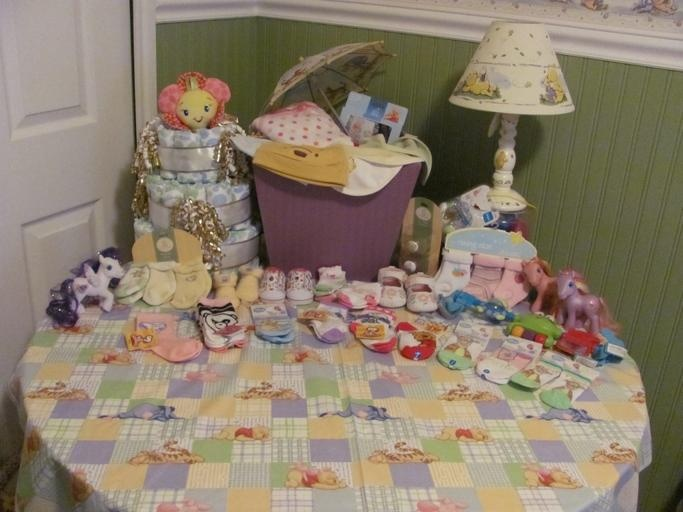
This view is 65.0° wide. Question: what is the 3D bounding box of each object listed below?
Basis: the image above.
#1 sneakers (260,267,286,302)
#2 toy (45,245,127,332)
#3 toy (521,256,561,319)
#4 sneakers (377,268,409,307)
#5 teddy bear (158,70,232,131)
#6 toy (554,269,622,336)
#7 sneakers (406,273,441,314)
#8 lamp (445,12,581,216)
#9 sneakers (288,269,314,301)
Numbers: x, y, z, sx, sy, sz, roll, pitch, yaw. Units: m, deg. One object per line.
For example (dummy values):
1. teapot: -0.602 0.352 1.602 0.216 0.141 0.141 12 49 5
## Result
1. sneakers: -0.237 0.086 1.800 0.063 0.047 0.117 6 37 -16
2. toy: -0.789 0.095 1.647 0.222 0.176 0.080 -15 14 -31
3. toy: 0.693 0.094 1.830 0.072 0.177 0.223 -17 -11 37
4. sneakers: 0.169 0.101 1.853 0.102 0.091 0.233 3 18 -1
5. teddy bear: -0.481 -0.487 1.774 0.232 0.220 0.127 -13 35 -12
6. toy: 0.781 0.154 1.709 0.257 0.167 0.087 15 6 -15
7. sneakers: 0.271 0.116 1.811 0.126 0.077 0.220 2 19 5
8. lamp: 0.609 -0.502 1.930 0.434 0.606 0.425 10 24 26
9. sneakers: -0.151 0.097 1.818 0.088 0.078 0.177 -1 21 -11
